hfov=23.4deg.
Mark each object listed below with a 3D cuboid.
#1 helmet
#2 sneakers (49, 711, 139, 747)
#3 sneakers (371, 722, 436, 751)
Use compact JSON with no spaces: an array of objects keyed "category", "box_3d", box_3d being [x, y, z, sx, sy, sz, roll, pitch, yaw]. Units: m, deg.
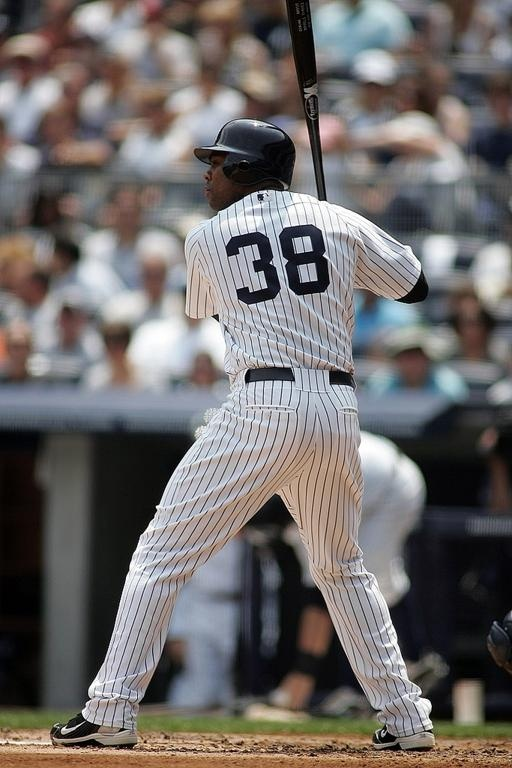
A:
[{"category":"helmet","box_3d":[-0.014,-0.531,2.939,0.225,0.154,0.145,8,82,12]},{"category":"sneakers","box_3d":[-0.363,0.764,2.745,0.207,0.073,0.084,2,77,8]},{"category":"sneakers","box_3d":[0.328,0.810,2.846,0.144,0.056,0.059,1,91,47]}]
